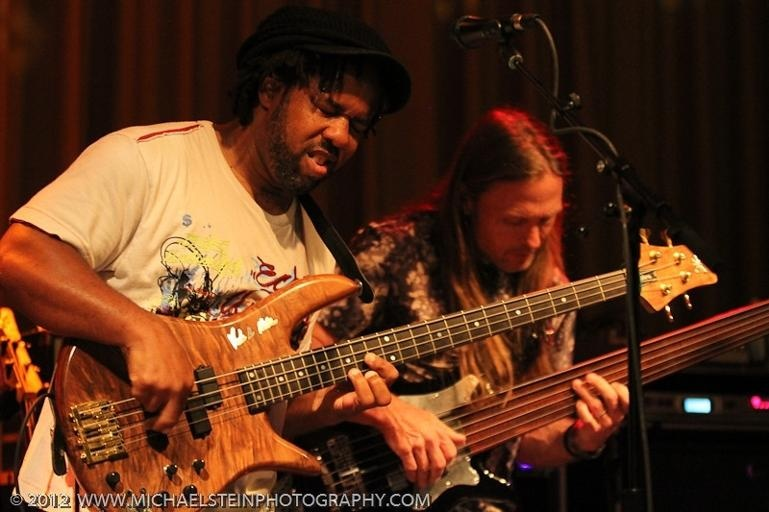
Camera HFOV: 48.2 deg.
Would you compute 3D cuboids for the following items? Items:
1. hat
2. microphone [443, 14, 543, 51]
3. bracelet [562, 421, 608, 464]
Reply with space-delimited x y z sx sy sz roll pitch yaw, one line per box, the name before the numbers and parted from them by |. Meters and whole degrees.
hat | -0.278 -0.733 3.374 0.507 0.239 0.409 -6 -26 35
microphone | 0.442 -0.897 3.438 0.147 0.154 0.446 -12 17 -32
bracelet | 0.860 0.839 3.795 0.196 0.145 0.070 -6 24 40
